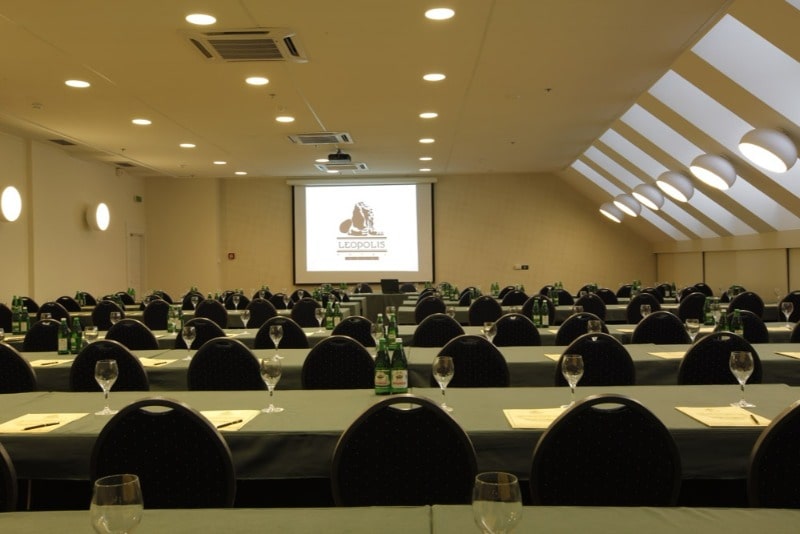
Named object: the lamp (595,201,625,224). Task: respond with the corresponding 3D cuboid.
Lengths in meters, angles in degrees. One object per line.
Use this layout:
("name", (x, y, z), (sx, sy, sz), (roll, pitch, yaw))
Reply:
("lamp", (4.585, -1.187, 13.244), (0.542, 0.284, 0.562), (21, -5, 23))

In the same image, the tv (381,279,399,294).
("tv", (-0.197, 0.357, 11.727), (0.258, 0.222, 0.275), (-1, 0, 0))

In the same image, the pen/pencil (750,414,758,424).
("pen/pencil", (1.827, 0.782, 3.146), (0.016, 0.027, 0.072), (-5, 7, 11))

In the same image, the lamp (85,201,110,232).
("lamp", (-6.182, -1.050, 12.406), (0.233, 0.554, 0.539), (0, -3, 6))

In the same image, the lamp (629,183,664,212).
("lamp", (4.470, -1.261, 10.966), (0.489, 0.230, 0.503), (30, -14, 5))

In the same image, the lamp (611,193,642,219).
("lamp", (4.568, -1.189, 12.129), (0.524, 0.266, 0.534), (30, -5, -9))

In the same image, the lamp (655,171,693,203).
("lamp", (4.453, -1.330, 9.898), (0.495, 0.465, 0.528), (-1, -3, 23))

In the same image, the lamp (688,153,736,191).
("lamp", (4.359, -1.308, 8.498), (0.501, 0.322, 0.523), (22, -14, 17))
